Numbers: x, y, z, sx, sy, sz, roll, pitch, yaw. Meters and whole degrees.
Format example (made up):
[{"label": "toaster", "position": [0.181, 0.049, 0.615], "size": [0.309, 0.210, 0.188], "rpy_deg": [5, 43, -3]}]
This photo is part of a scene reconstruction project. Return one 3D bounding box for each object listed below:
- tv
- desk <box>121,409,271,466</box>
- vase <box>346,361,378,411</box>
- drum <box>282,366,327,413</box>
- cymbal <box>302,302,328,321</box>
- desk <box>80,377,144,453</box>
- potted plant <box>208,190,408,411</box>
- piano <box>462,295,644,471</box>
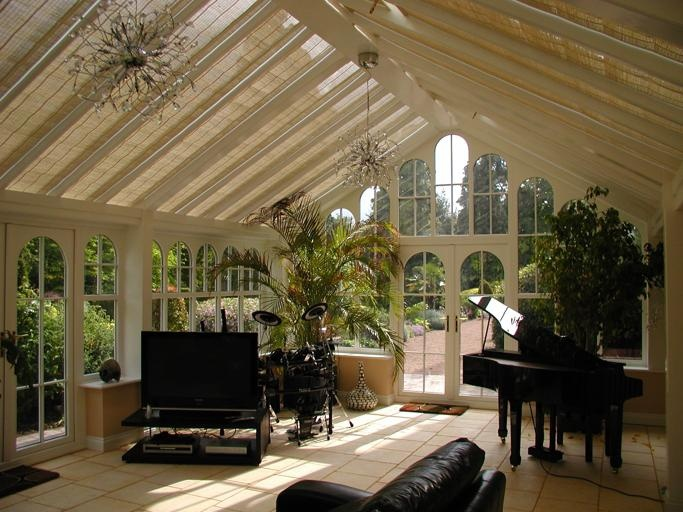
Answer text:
[{"label": "tv", "position": [-1.653, 1.376, 6.815], "size": [1.370, 0.895, 0.125], "rpy_deg": [1, 4, 1]}, {"label": "desk", "position": [-1.680, 2.184, 6.927], "size": [1.559, 0.628, 0.898], "rpy_deg": [-2, -7, 1]}, {"label": "vase", "position": [0.183, 2.131, 9.105], "size": [0.675, 0.918, 0.635], "rpy_deg": [1, -7, -4]}, {"label": "drum", "position": [-0.477, 1.853, 7.801], "size": [0.704, 0.687, 0.395], "rpy_deg": [-9, -18, 35]}, {"label": "cymbal", "position": [-0.354, 0.705, 7.202], "size": [0.276, 0.115, 0.278], "rpy_deg": [-30, -33, 9]}, {"label": "desk", "position": [-2.849, 2.064, 7.213], "size": [0.334, 0.762, 0.780], "rpy_deg": [-4, -7, 14]}, {"label": "potted plant", "position": [-0.182, 0.704, 9.802], "size": [2.965, 2.961, 2.943], "rpy_deg": [-1, -8, -13]}, {"label": "piano", "position": [2.334, 1.492, 6.710], "size": [1.972, 1.825, 1.746], "rpy_deg": [-1, -4, 39]}]
